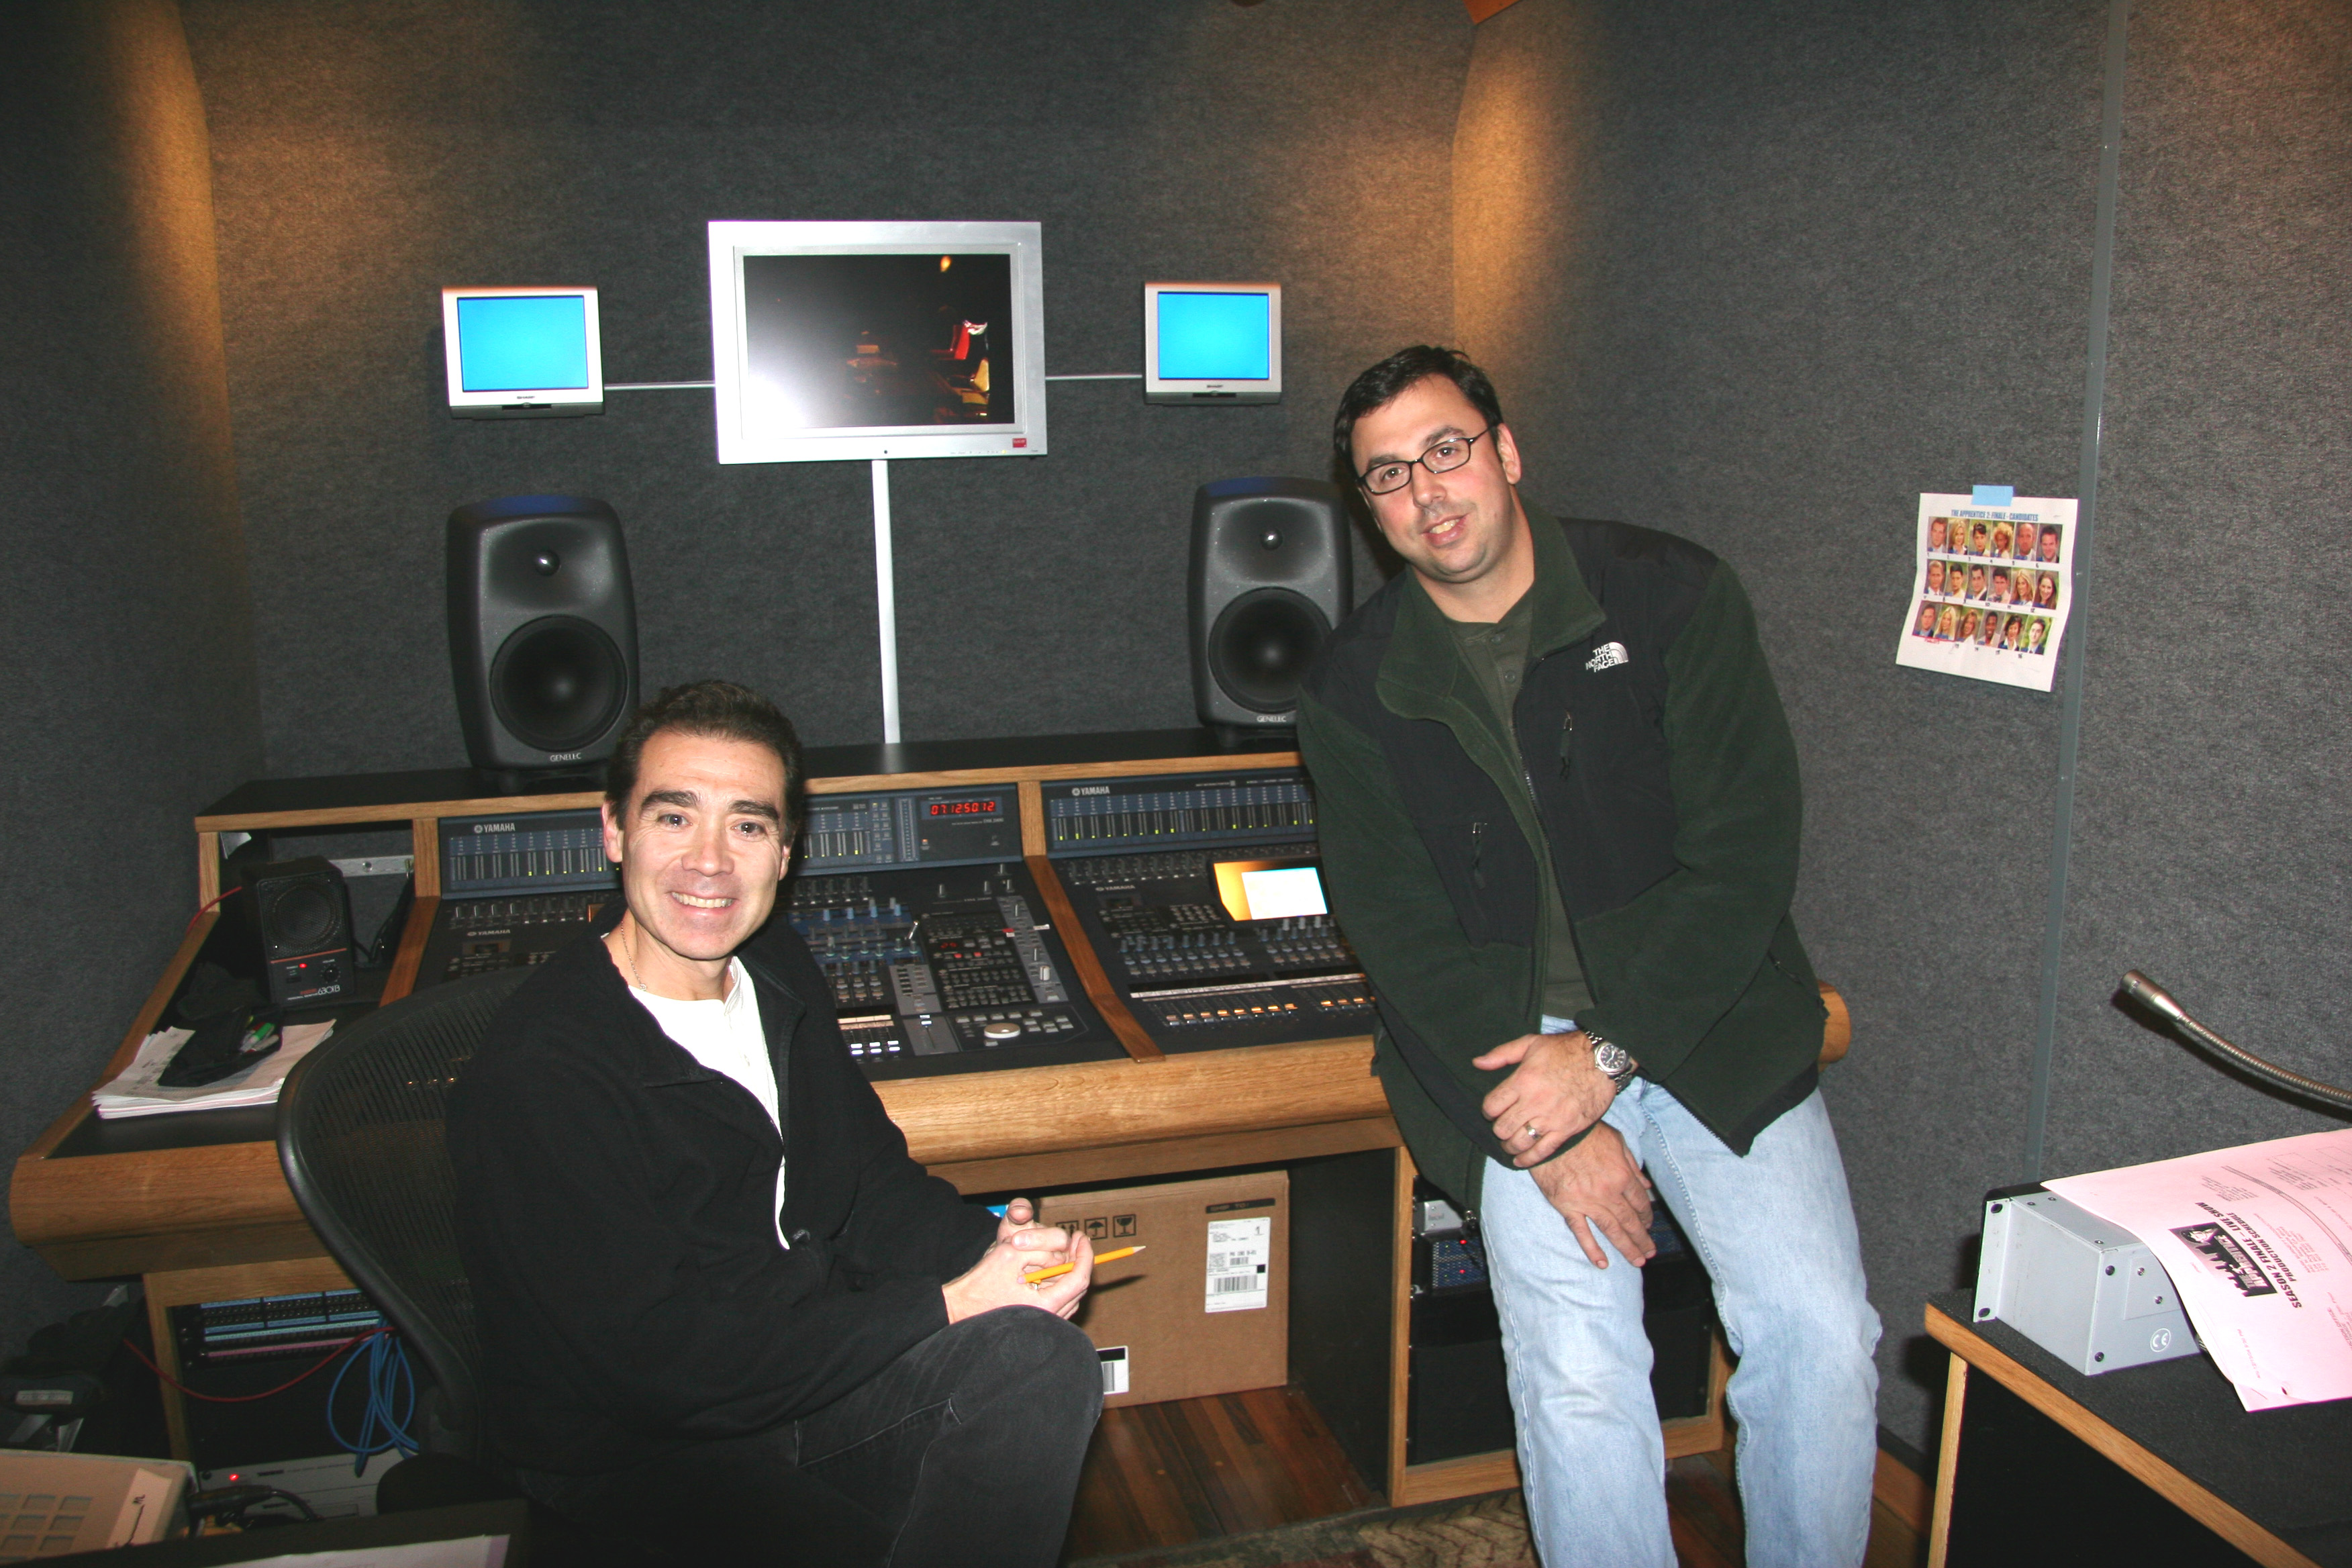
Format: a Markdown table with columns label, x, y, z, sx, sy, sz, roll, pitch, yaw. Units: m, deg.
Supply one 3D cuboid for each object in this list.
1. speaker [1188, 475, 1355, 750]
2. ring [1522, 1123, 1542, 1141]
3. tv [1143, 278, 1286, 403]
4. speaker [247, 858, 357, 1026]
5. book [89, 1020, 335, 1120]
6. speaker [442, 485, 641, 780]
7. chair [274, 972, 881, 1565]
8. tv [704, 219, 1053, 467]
| label | x | y | z | sx | sy | sz | roll | pitch | yaw |
| --- | --- | --- | --- | --- | --- | --- | --- | --- | --- |
| speaker | 0.199 | -0.386 | 3.735 | 0.358 | 0.530 | 0.276 | -3 | 24 | -2 |
| ring | 0.547 | 0.539 | 2.715 | 0.032 | 0.026 | 0.007 | 7 | -1 | 18 |
| tv | 0.148 | -1.001 | 3.977 | 0.394 | 0.267 | 0.215 | 12 | 22 | 38 |
| speaker | -1.626 | 0.264 | 3.260 | 0.188 | 0.286 | 0.170 | -3 | 29 | -18 |
| book | -1.543 | 0.476 | 2.758 | 0.252 | 0.048 | 0.238 | -3 | 17 | -14 |
| speaker | -1.247 | -0.299 | 3.465 | 0.345 | 0.499 | 0.314 | -9 | 19 | -33 |
| chair | -0.990 | 0.719 | 2.542 | 0.583 | 0.732 | 0.541 | -2 | 23 | -22 |
| tv | -0.635 | -0.930 | 3.654 | 0.599 | 0.378 | 0.040 | -2 | 14 | -12 |
